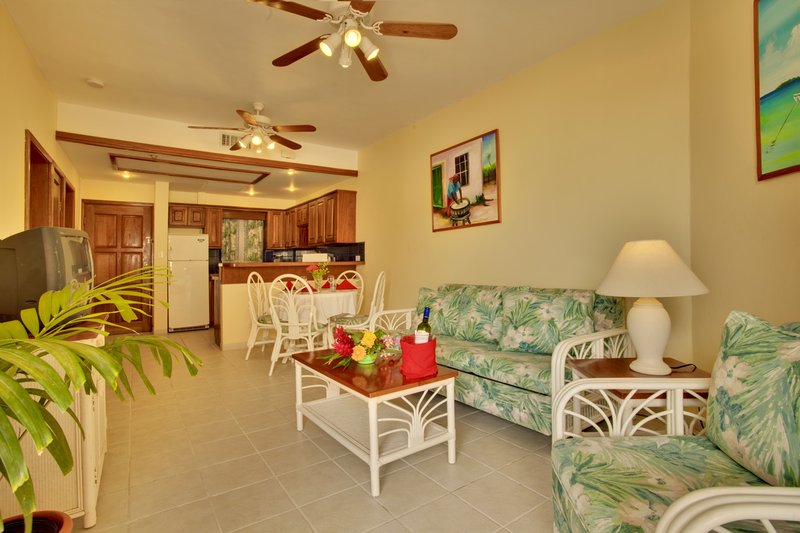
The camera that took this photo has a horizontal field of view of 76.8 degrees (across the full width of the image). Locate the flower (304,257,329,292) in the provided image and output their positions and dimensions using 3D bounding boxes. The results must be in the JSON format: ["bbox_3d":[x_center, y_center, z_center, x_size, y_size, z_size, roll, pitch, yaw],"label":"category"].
[{"bbox_3d":[-1.062,0.099,6.616,0.443,0.493,0.380,-1,6,-16],"label":"flower"}]

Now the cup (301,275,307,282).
[{"bbox_3d":[-1.205,0.144,6.315,0.071,0.069,0.062,-10,13,-32],"label":"cup"}]

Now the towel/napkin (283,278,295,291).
[{"bbox_3d":[-1.282,0.211,5.876,0.156,0.132,0.040,11,-29,-17],"label":"towel/napkin"}]

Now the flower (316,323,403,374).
[{"bbox_3d":[-0.238,0.616,3.862,0.555,0.198,0.487,-6,8,-34],"label":"flower"}]

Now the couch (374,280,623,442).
[{"bbox_3d":[0.827,0.730,4.621,1.007,0.960,2.044,-10,8,-41],"label":"couch"}]

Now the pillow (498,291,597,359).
[{"bbox_3d":[1.256,0.482,4.423,0.901,0.574,0.341,-4,3,43],"label":"pillow"}]

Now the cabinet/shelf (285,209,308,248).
[{"bbox_3d":[-1.910,-0.710,9.366,0.314,0.692,0.774,-4,3,-31],"label":"cabinet/shelf"}]

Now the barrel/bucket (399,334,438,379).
[{"bbox_3d":[0.118,0.632,3.609,0.282,0.232,0.256,-5,6,-43],"label":"barrel/bucket"}]

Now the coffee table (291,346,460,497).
[{"bbox_3d":[-0.246,1.085,4.015,0.852,0.645,1.316,-3,4,-34],"label":"coffee table"}]

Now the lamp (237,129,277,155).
[{"bbox_3d":[-1.623,-1.394,5.600,0.442,0.113,0.428,1,1,5],"label":"lamp"}]

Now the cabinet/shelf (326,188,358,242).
[{"bbox_3d":[-0.921,-0.737,7.889,0.304,0.792,0.830,0,1,-19],"label":"cabinet/shelf"}]

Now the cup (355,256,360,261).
[{"bbox_3d":[-0.636,-0.133,7.561,0.042,0.071,0.076,5,-8,-33],"label":"cup"}]

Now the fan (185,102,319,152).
[{"bbox_3d":[-1.539,-1.442,5.382,0.901,0.301,0.821,0,1,11],"label":"fan"}]

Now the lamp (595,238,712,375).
[{"bbox_3d":[1.549,0.241,3.677,0.881,1.011,0.831,-1,1,18],"label":"lamp"}]

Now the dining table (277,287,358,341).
[{"bbox_3d":[-0.879,0.615,6.138,0.727,0.372,0.710,-4,-1,10],"label":"dining table"}]

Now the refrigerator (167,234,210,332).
[{"bbox_3d":[-3.356,0.255,8.488,0.990,1.561,0.946,0,-4,-30],"label":"refrigerator"}]

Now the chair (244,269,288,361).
[{"bbox_3d":[-1.646,0.622,6.112,0.384,0.574,0.328,-1,10,-31],"label":"chair"}]

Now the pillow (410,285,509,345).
[{"bbox_3d":[0.578,0.463,4.934,0.930,0.536,0.164,6,-5,-14],"label":"pillow"}]
